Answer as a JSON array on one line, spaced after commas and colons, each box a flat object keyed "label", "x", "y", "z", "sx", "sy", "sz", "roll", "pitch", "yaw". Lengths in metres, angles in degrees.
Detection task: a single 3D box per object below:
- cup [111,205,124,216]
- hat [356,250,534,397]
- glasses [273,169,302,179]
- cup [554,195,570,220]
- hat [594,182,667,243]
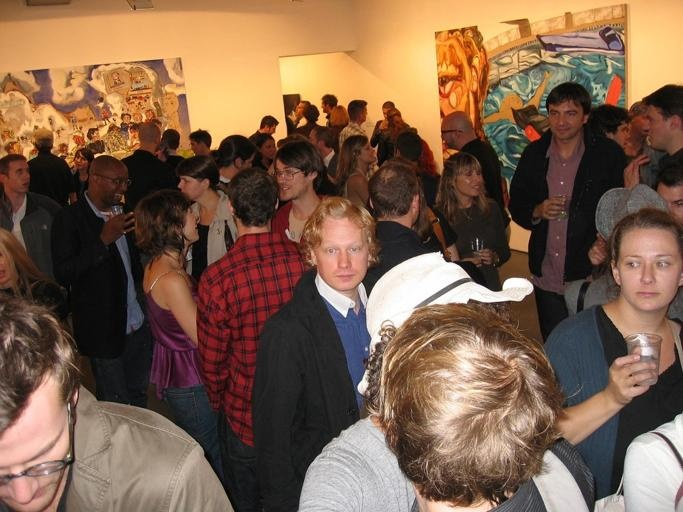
[{"label": "cup", "x": -1.604, "y": -0.323, "z": 3.778, "sx": 0.065, "sy": 0.096, "sz": 0.113, "roll": -4, "pitch": -9, "yaw": -8}, {"label": "hat", "x": 0.270, "y": 0.147, "z": 1.530, "sx": 0.418, "sy": 0.180, "sz": 0.468, "roll": -32, "pitch": -4, "yaw": -10}, {"label": "glasses", "x": -0.379, "y": -0.560, "z": 3.615, "sx": 0.181, "sy": 0.064, "sz": 0.057, "roll": 1, "pitch": 10, "yaw": 18}, {"label": "cup", "x": 1.538, "y": -0.335, "z": 3.685, "sx": 0.081, "sy": 0.187, "sz": 0.297, "roll": 3, "pitch": 11, "yaw": 29}, {"label": "hat", "x": 1.397, "y": -0.252, "z": 2.603, "sx": 0.298, "sy": 0.142, "sz": 0.345, "roll": 7, "pitch": 55, "yaw": 24}]
